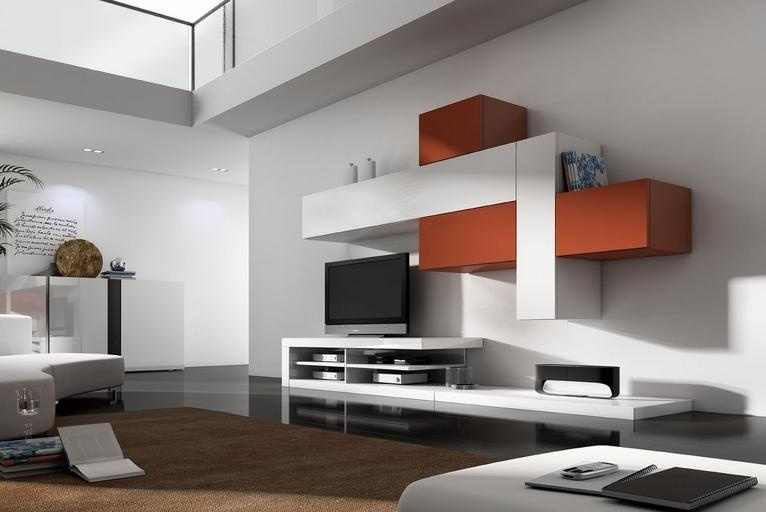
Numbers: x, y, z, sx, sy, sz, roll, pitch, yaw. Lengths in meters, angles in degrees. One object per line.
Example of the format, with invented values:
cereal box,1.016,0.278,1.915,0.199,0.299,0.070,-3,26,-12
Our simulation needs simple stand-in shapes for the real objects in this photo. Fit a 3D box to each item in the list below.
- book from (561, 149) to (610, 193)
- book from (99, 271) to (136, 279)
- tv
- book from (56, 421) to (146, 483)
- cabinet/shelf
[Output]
book,1.477,-0.619,4.108,0.424,0.280,0.057,0,-4,-27
book,-3.874,0.279,8.122,0.438,0.123,0.342,-9,1,-29
tv,-0.136,0.408,5.618,0.943,0.626,0.099,-5,-6,45
book,-1.309,0.905,2.570,0.407,0.128,0.278,8,-2,44
cabinet/shelf,0.421,0.963,4.785,3.686,0.667,0.728,-8,2,42
